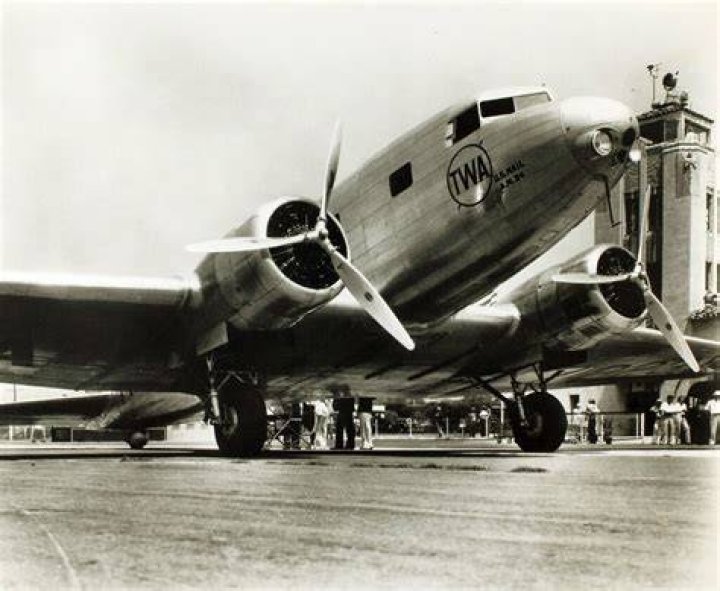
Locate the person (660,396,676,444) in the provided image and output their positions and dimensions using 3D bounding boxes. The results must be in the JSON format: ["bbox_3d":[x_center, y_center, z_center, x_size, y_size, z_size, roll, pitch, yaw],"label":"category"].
[{"bbox_3d":[5.611,2.306,17.641,0.284,0.838,0.251,9,-39,3],"label":"person"}]
